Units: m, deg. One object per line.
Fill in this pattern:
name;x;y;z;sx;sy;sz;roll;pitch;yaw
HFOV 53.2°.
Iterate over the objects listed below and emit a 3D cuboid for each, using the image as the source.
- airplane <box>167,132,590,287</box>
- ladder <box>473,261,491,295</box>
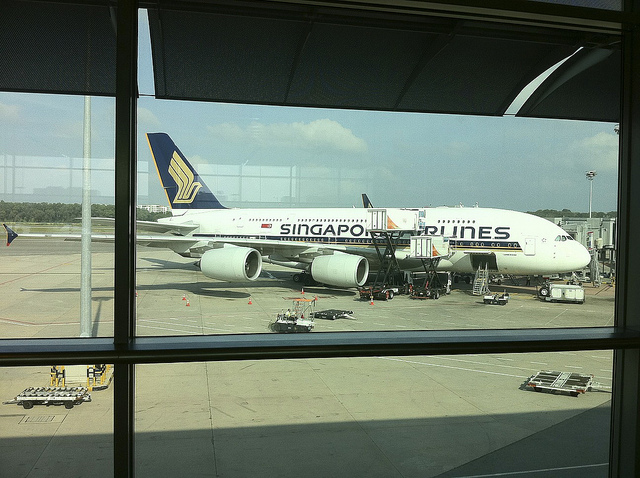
airplane;0.887;-0.249;17.147;11.684;2.427;3.513;-1;2;20
ladder;4.139;0.958;16.366;0.377;0.783;0.920;2;9;23
